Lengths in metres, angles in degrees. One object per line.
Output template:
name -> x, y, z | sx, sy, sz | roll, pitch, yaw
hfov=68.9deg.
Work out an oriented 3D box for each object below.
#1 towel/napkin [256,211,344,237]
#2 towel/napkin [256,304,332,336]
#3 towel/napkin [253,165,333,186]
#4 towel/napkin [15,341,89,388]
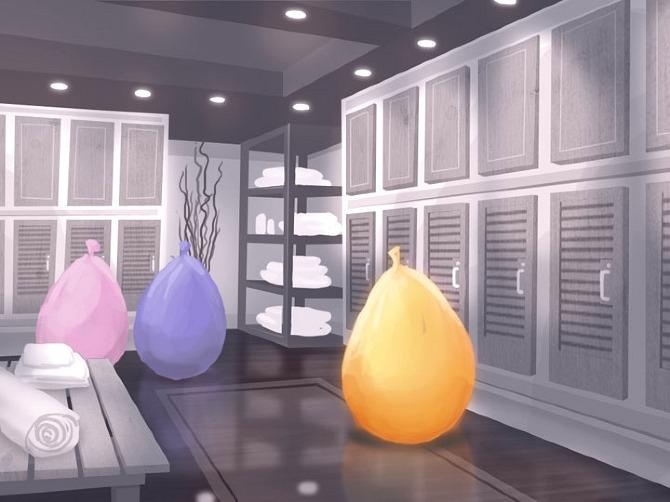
towel/napkin -> -0.241, -0.224, 4.154 | 0.389, 0.135, 0.394 | -1, -2, 42
towel/napkin -> -0.347, 0.583, 4.102 | 0.267, 0.144, 0.455 | 5, -3, -35
towel/napkin -> -0.326, -0.630, 4.212 | 0.343, 0.118, 0.347 | 0, 2, -23
towel/napkin -> -1.012, 0.417, 1.752 | 0.182, 0.064, 0.193 | 8, 14, -16
